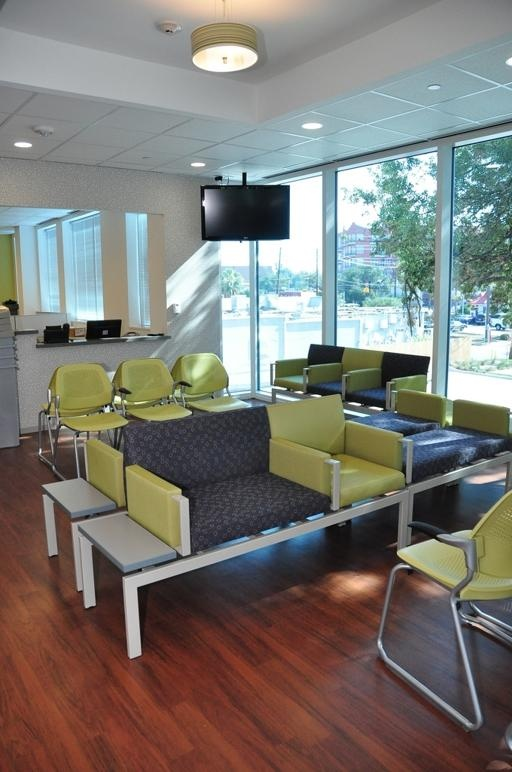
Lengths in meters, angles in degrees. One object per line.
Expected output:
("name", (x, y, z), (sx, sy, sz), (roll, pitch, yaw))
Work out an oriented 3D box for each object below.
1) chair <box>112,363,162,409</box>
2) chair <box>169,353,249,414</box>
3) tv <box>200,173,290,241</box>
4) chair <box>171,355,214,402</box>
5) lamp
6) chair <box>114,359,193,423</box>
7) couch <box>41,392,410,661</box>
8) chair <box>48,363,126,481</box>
("chair", (-1.182, -0.037, 5.574), (0.425, 0.551, 0.448), (-4, 10, -24))
("chair", (-0.474, -0.077, 5.750), (0.592, 0.531, 0.724), (-6, 10, -37))
("tv", (-0.139, -2.108, 6.623), (1.169, 0.916, 0.119), (0, 8, -5))
("chair", (-0.645, -0.106, 5.938), (0.449, 0.553, 0.464), (-6, 13, -28))
("lamp", (-0.164, -1.734, 2.823), (0.323, 0.153, 0.331), (-1, 6, -5))
("chair", (-1.004, 0.038, 5.344), (0.649, 0.550, 0.752), (-7, 13, -38))
("couch", (-0.121, 0.566, 3.098), (1.785, 0.877, 1.082), (-5, 7, -37))
("chair", (-1.528, 0.318, 5.035), (0.608, 0.971, 0.612), (-8, 14, -43))
